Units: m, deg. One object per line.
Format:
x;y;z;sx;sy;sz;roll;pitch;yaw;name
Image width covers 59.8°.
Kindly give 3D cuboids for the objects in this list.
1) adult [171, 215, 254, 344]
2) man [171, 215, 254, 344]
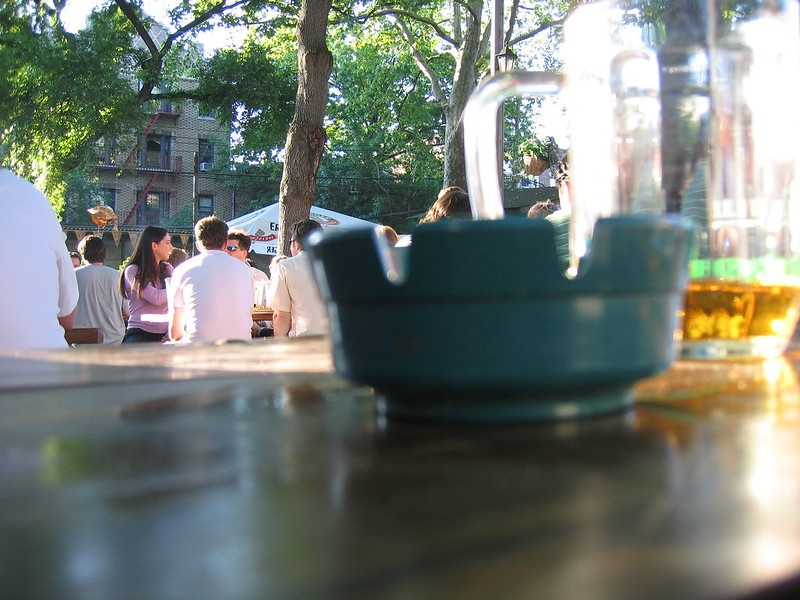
-1.296;-0.130;4.756;0.612;0.889;0.674;-3;8;-5;adult
-1.286;-0.130;4.782;0.658;0.891;0.707;-1;9;6;man
